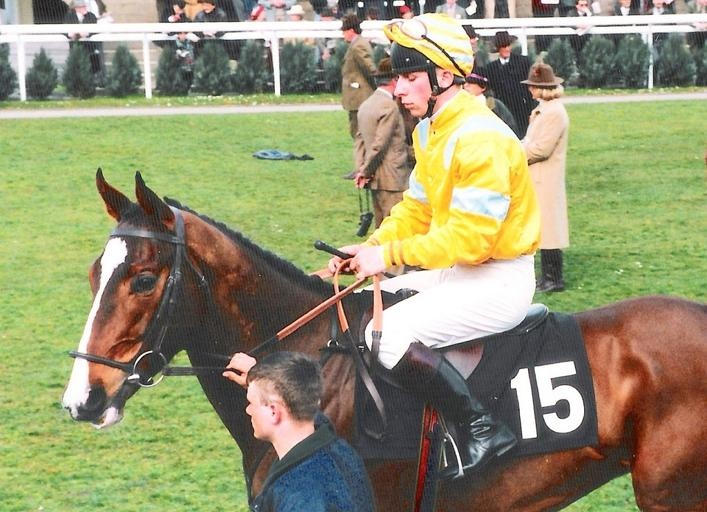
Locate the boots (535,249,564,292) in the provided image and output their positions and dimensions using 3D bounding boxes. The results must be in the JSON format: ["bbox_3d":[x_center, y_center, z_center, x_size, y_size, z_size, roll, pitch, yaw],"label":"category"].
[{"bbox_3d":[1.889,0.166,13.827,0.213,0.269,0.775,-11,38,13],"label":"boots"}]

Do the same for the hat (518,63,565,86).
[{"bbox_3d":[1.780,-1.678,13.452,0.283,0.115,0.295,3,16,21],"label":"hat"}]

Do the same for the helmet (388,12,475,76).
[{"bbox_3d":[0.545,-1.546,10.249,0.519,0.275,0.445,26,18,10],"label":"helmet"}]

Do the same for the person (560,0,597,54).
[{"bbox_3d":[3.333,-3.414,21.243,0.352,0.766,1.696,5,12,7],"label":"person"}]

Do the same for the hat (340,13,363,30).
[{"bbox_3d":[-0.036,-2.458,15.092,0.170,0.173,0.139,8,7,35],"label":"hat"}]

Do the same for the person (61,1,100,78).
[{"bbox_3d":[-3.647,-2.871,19.084,0.324,0.372,1.092,-8,21,-20],"label":"person"}]
